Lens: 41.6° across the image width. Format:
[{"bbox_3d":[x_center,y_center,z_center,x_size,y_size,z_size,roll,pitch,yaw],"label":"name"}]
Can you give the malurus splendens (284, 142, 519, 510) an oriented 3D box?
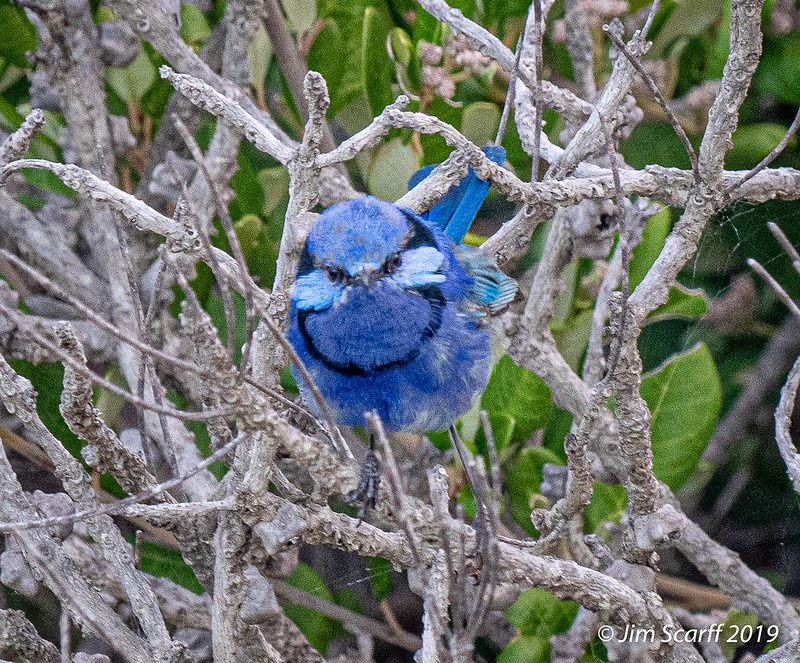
[{"bbox_3d":[0.078,-0.170,3.854,0.595,0.999,1.185,-1,17,3],"label":"malurus splendens"}]
